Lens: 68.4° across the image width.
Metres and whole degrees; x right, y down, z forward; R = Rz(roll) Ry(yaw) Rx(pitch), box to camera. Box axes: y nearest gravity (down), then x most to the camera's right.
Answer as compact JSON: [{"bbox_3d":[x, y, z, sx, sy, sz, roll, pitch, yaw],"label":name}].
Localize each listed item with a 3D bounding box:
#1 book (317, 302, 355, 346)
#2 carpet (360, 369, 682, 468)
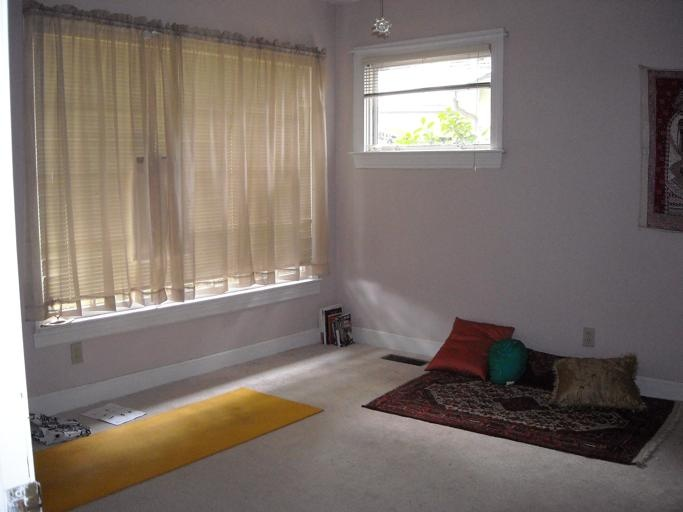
[{"bbox_3d":[-0.034,0.668,4.874,0.298,0.350,0.258,-6,9,-37],"label":"book"},{"bbox_3d":[1.206,0.993,3.338,1.784,0.074,0.935,4,9,29],"label":"carpet"}]
